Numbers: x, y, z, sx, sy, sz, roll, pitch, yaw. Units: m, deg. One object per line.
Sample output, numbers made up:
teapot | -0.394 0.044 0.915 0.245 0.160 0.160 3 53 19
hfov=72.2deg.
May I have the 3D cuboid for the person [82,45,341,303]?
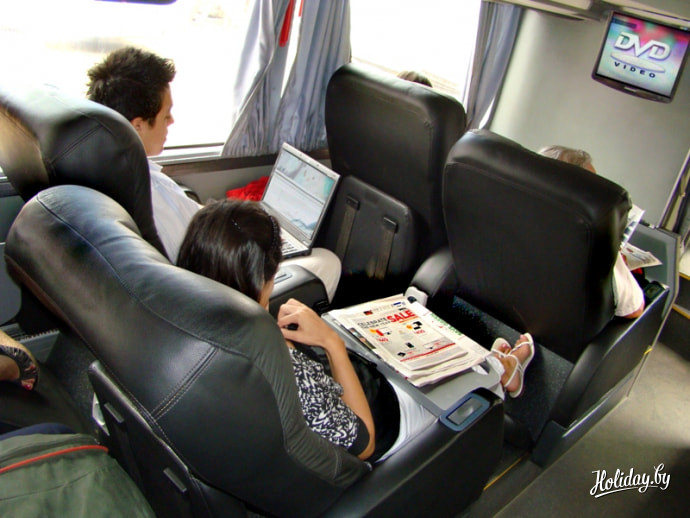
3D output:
person | -0.670 -0.418 2.413 0.990 1.246 0.854 -1 47 -20
